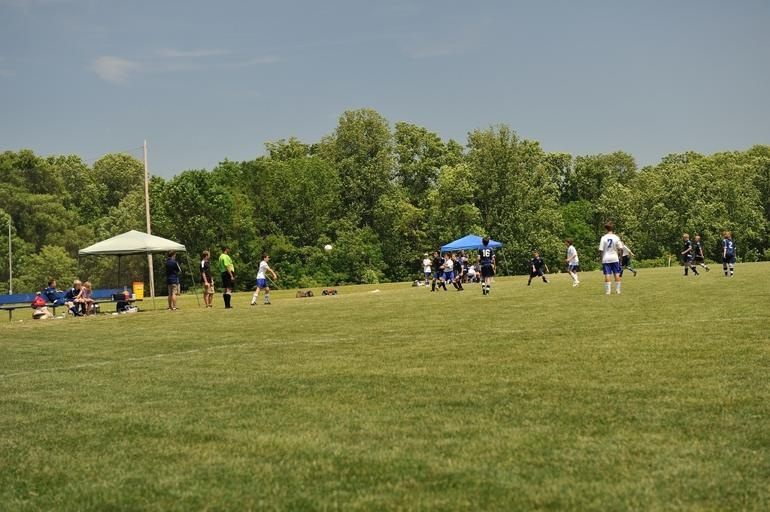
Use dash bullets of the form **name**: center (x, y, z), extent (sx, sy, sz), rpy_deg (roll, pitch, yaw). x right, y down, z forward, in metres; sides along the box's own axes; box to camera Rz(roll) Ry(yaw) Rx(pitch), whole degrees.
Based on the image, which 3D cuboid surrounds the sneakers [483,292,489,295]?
- **sneakers**: center (3.706, 1.367, 28.353), extent (0.140, 0.133, 0.099), rpy_deg (-3, -4, 9)

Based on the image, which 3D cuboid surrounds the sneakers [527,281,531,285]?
- **sneakers**: center (6.347, 1.180, 34.006), extent (0.120, 0.145, 0.193), rpy_deg (-6, -12, -1)

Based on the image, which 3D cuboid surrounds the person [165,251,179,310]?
- **person**: center (-8.019, 0.897, 29.122), extent (0.425, 2.224, 1.412), rpy_deg (-2, -2, -14)

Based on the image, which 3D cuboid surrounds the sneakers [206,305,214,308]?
- **sneakers**: center (-6.674, 1.921, 29.316), extent (0.093, 0.156, 0.270), rpy_deg (1, -12, -38)

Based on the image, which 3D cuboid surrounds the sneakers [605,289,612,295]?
- **sneakers**: center (7.058, 1.133, 24.413), extent (0.124, 0.154, 0.374), rpy_deg (-2, -8, 14)

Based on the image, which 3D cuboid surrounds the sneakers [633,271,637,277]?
- **sneakers**: center (11.589, 0.821, 35.829), extent (0.112, 0.145, 0.372), rpy_deg (-7, -17, 11)

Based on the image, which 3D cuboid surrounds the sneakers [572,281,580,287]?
- **sneakers**: center (7.437, 1.084, 30.058), extent (0.169, 0.178, 0.424), rpy_deg (0, 4, 12)

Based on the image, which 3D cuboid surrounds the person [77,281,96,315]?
- **person**: center (-11.491, 1.614, 29.750), extent (0.521, 1.266, 1.361), rpy_deg (-1, -3, -20)

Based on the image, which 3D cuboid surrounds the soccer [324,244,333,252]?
- **soccer**: center (-4.381, -0.593, 58.623), extent (0.719, 0.494, 0.852), rpy_deg (2, 6, 5)

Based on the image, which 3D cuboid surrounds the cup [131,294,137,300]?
- **cup**: center (-13.753, 2.218, 42.131), extent (0.223, 0.272, 0.406), rpy_deg (0, -4, -7)

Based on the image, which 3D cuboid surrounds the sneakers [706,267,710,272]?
- **sneakers**: center (14.754, 0.613, 35.283), extent (0.113, 0.138, 0.334), rpy_deg (-7, -21, 9)

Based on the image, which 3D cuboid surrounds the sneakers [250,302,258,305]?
- **sneakers**: center (-4.993, 1.813, 29.262), extent (0.156, 0.125, 0.238), rpy_deg (-11, 15, -35)
